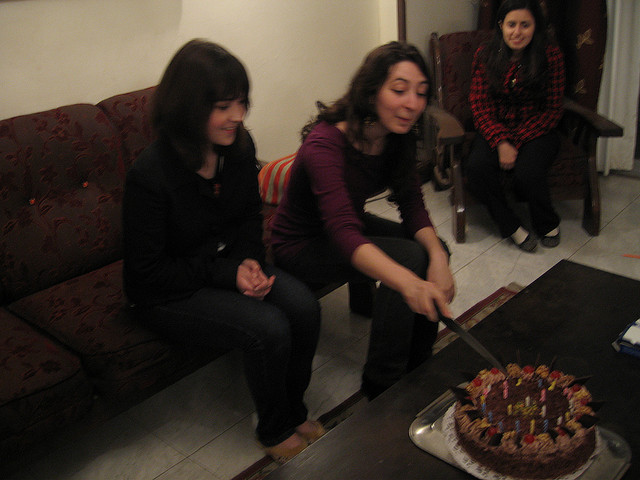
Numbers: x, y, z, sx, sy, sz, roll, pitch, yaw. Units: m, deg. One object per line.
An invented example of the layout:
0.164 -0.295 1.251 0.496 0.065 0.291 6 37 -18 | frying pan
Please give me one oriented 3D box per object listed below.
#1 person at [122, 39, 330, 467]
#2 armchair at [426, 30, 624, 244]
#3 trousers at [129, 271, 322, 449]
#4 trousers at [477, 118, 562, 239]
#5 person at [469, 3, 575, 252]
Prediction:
-0.343 0.058 1.743 0.764 1.413 0.597 17 26 32 | person
1.286 -0.724 3.087 1.147 1.342 1.156 -11 29 -17 | armchair
-0.360 0.403 1.845 0.711 0.725 0.426 1 8 26 | trousers
1.229 -0.326 2.888 0.480 0.584 0.476 2 31 18 | trousers
1.191 -0.705 2.812 0.550 1.298 0.762 2 31 18 | person
